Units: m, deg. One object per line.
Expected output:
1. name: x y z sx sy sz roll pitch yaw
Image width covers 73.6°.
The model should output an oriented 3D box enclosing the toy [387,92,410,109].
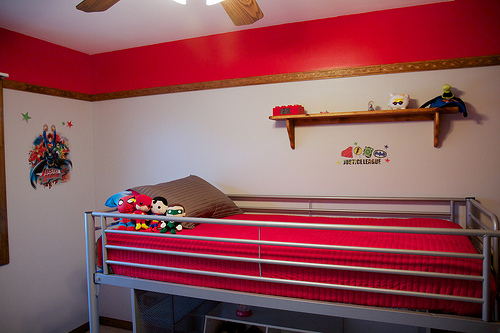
1. toy: 1.320 -0.585 2.983 0.141 0.153 0.153 -4 2 34

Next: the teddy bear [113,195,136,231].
1. teddy bear: -1.056 0.390 2.838 0.249 0.265 0.178 -4 -16 1

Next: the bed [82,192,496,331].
1. bed: 0.369 0.803 2.879 3.287 1.022 1.096 -2 3 14

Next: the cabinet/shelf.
1. cabinet/shelf: 1.050 -0.340 3.110 1.549 0.374 0.239 -2 3 12

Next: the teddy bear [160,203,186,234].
1. teddy bear: -0.637 0.443 2.814 0.200 0.265 0.182 4 -17 8
